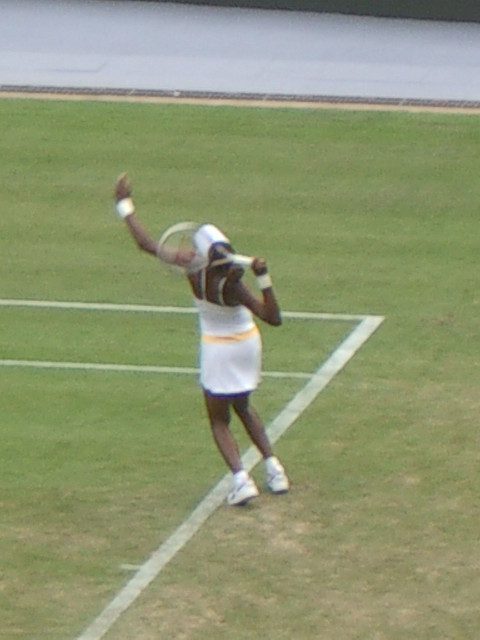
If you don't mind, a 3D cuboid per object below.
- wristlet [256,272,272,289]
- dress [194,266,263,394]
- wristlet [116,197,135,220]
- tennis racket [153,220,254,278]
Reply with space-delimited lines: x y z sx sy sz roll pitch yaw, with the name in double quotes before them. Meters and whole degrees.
"wristlet" 0.207 -0.301 12.839 0.115 0.112 0.120 -14 2 -6
"dress" -0.093 0.094 13.086 0.532 1.044 0.370 1 11 -2
"wristlet" -0.880 -0.895 13.165 0.174 0.155 0.045 -21 -7 19
"tennis racket" -0.266 -0.598 13.034 0.697 0.415 0.283 9 46 24
